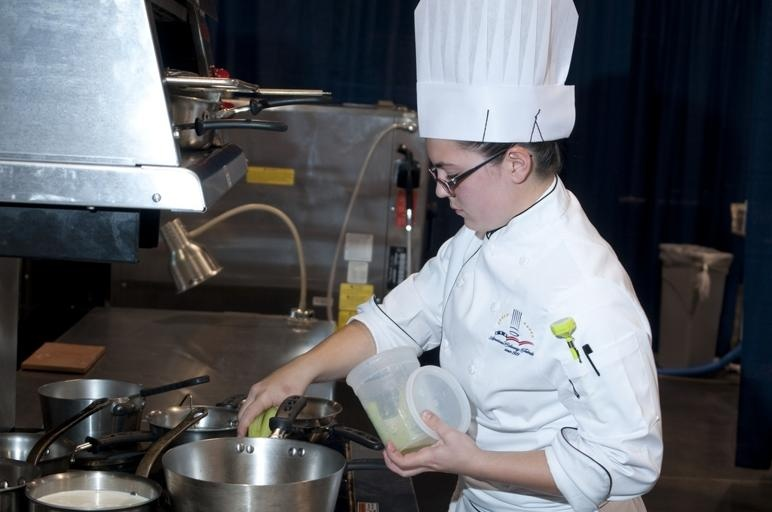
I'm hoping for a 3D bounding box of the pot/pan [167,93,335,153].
[{"bbox_3d":[-0.302,-0.322,1.542,0.328,0.128,0.585,-3,12,-5],"label":"pot/pan"}]

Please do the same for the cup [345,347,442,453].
[{"bbox_3d":[0.032,0.331,1.534,0.207,0.224,0.212,-27,-24,-13],"label":"cup"}]

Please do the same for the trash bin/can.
[{"bbox_3d":[2.235,0.367,4.726,0.482,0.896,0.237,0,12,10],"label":"trash bin/can"}]

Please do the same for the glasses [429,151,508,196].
[{"bbox_3d":[0.186,-0.209,1.508,0.122,0.037,0.117,-32,8,0],"label":"glasses"}]

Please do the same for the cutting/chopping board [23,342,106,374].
[{"bbox_3d":[-1.104,0.344,2.279,0.211,0.059,0.261,-2,12,1],"label":"cutting/chopping board"}]

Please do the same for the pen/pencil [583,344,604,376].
[{"bbox_3d":[0.433,0.214,1.358,0.021,0.073,0.007,-29,-14,39],"label":"pen/pencil"}]
